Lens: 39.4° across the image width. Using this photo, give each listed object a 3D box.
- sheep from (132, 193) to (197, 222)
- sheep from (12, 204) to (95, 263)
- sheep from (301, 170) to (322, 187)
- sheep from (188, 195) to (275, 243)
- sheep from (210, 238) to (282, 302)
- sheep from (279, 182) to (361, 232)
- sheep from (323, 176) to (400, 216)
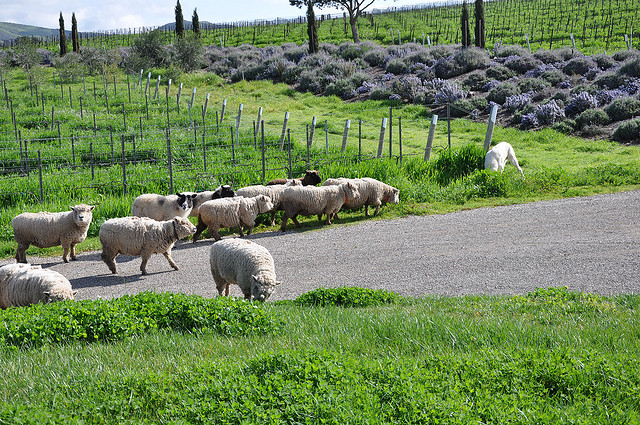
[{"bbox_3d":[-6.912,-0.262,39.308,2.740,2.006,1.125,3,5,0],"label":"sheep"},{"bbox_3d":[-11.364,0.867,38.291,3.374,2.644,1.402,-1,8,-7],"label":"sheep"},{"bbox_3d":[-0.404,-1.629,42.579,0.937,0.532,0.567,-1,2,31],"label":"sheep"},{"bbox_3d":[-3.783,0.170,40.243,3.772,2.117,1.261,-8,18,-26],"label":"sheep"},{"bbox_3d":[-2.965,2.226,35.268,2.649,2.228,0.882,5,10,30],"label":"sheep"},{"bbox_3d":[0.034,-0.371,41.463,3.734,2.266,1.243,-4,12,-12],"label":"sheep"},{"bbox_3d":[1.766,-0.987,42.805,4.695,2.452,1.401,5,6,-20],"label":"sheep"}]
